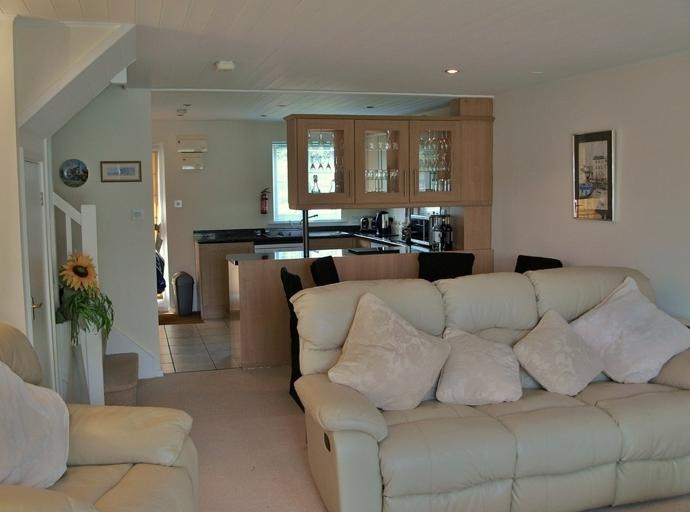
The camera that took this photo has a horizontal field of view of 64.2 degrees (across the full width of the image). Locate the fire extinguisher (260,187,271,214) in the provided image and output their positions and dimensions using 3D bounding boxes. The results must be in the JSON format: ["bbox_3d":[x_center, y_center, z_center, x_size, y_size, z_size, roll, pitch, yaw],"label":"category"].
[{"bbox_3d":[-1.196,-0.827,8.281,0.204,0.400,0.098,-8,11,-13],"label":"fire extinguisher"}]

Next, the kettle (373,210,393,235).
[{"bbox_3d":[0.559,-0.457,7.881,0.360,0.388,0.216,-2,1,-20],"label":"kettle"}]

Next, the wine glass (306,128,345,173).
[{"bbox_3d":[-0.212,-1.105,5.667,0.425,0.406,0.143,-1,7,-14],"label":"wine glass"}]

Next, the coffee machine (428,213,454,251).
[{"bbox_3d":[1.093,-0.266,6.278,0.298,0.391,0.347,-1,11,25],"label":"coffee machine"}]

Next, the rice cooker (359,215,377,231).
[{"bbox_3d":[0.354,-0.496,8.478,0.229,0.155,0.392,1,12,1],"label":"rice cooker"}]

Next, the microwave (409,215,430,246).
[{"bbox_3d":[0.982,-0.319,7.114,0.233,0.381,0.436,0,2,-20],"label":"microwave"}]

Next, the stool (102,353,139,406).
[{"bbox_3d":[-1.886,1.043,4.598,0.155,0.173,0.477,-2,8,-15],"label":"stool"}]

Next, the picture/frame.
[{"bbox_3d":[2.162,-0.692,4.765,0.129,0.749,0.454,-8,11,-17],"label":"picture/frame"}]

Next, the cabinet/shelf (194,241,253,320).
[{"bbox_3d":[-1.826,0.228,8.541,0.910,1.730,1.221,0,3,-13],"label":"cabinet/shelf"}]

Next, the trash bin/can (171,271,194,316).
[{"bbox_3d":[-2.313,0.542,7.954,0.307,0.629,0.155,-9,11,-17],"label":"trash bin/can"}]

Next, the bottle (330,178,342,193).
[{"bbox_3d":[-0.084,-0.729,5.739,0.124,0.234,0.125,1,-2,0],"label":"bottle"}]
